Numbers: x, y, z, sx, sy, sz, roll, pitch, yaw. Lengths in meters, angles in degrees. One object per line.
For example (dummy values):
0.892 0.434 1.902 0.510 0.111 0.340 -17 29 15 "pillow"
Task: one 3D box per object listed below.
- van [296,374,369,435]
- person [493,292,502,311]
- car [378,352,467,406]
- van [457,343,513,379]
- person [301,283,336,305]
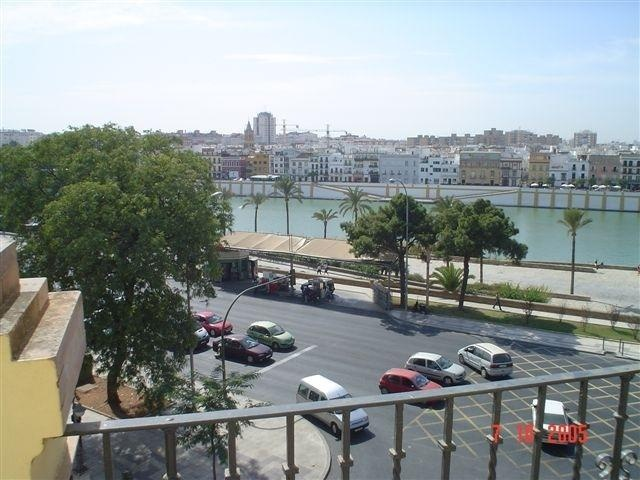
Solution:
0.486 6.357 25.143 1.716 1.256 3.598 -3 7 -22 "van"
11.358 3.882 42.277 0.551 1.094 1.701 1 6 15 "person"
4.454 6.015 28.562 2.640 1.207 4.007 4 8 38 "car"
7.729 5.617 30.822 1.133 0.973 2.337 0 13 -19 "van"
-0.217 3.515 43.549 1.791 1.257 1.117 4 9 9 "person"
